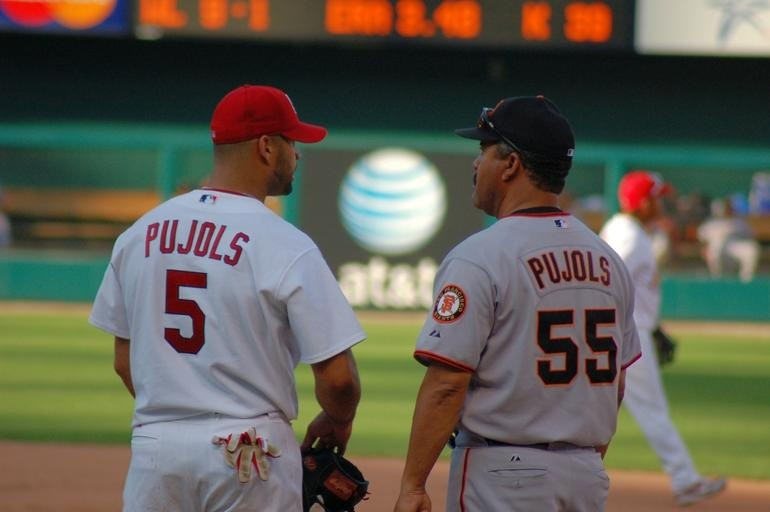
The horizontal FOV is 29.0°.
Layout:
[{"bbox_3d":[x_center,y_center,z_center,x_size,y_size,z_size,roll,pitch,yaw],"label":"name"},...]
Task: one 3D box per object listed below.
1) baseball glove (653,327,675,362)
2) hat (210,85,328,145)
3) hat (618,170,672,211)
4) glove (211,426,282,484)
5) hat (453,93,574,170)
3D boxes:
[{"bbox_3d":[3.616,1.197,19.114,0.117,0.428,0.325,-32,18,-1],"label":"baseball glove"},{"bbox_3d":[-1.322,-1.597,16.850,1.369,0.717,0.826,-3,7,-3],"label":"hat"},{"bbox_3d":[3.405,-0.822,19.179,0.663,0.343,0.460,-29,26,-21],"label":"hat"},{"bbox_3d":[-1.460,2.203,16.342,0.585,0.571,0.086,-1,4,-1],"label":"glove"},{"bbox_3d":[1.618,-1.390,16.747,1.022,0.564,0.726,10,5,6],"label":"hat"}]
